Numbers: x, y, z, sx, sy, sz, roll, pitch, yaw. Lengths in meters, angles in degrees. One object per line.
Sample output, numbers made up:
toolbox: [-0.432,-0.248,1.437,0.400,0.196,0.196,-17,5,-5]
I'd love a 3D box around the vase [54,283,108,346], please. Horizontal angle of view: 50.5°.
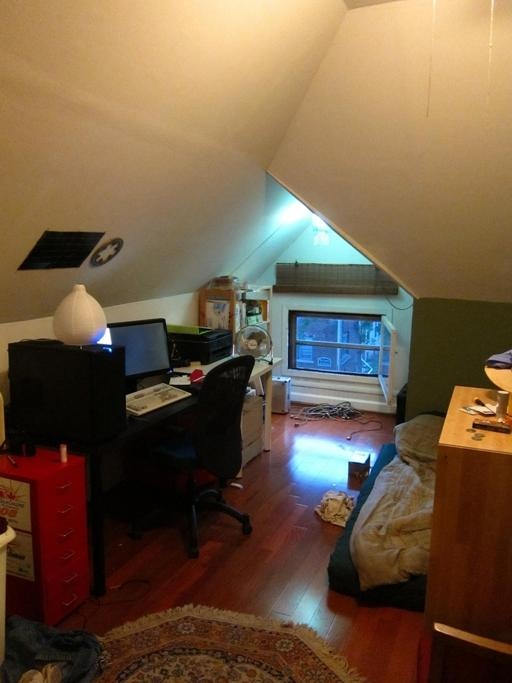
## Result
vase: [-0.756,-0.110,2.301,0.235,0.259,0.245,0,-2,-3]

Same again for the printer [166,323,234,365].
printer: [-0.409,0.014,3.740,0.262,0.219,0.358,4,9,21]

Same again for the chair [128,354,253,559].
chair: [-0.319,0.528,2.845,0.585,0.947,0.570,8,6,44]

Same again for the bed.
bed: [0.616,0.886,2.605,0.388,0.152,0.818,0,24,25]

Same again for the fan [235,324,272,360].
fan: [-0.008,-0.002,3.961,0.233,0.240,0.157,-13,14,8]

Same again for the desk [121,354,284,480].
desk: [-0.183,0.522,3.965,0.718,0.961,1.017,10,18,30]
